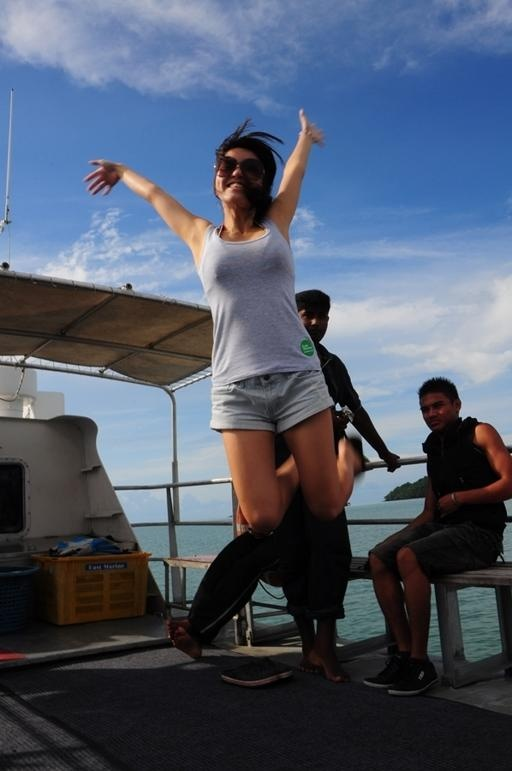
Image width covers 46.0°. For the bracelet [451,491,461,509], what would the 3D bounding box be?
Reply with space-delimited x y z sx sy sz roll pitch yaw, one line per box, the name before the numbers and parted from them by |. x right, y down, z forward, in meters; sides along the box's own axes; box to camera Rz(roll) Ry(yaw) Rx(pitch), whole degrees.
bracelet | 0.784 0.445 2.364 0.019 0.048 0.042 -14 -33 -18

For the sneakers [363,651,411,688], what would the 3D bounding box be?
sneakers | 0.471 0.987 2.094 0.209 0.087 0.073 24 -32 -29

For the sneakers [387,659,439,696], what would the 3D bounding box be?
sneakers | 0.525 0.959 1.989 0.074 0.084 0.223 -15 -24 43
